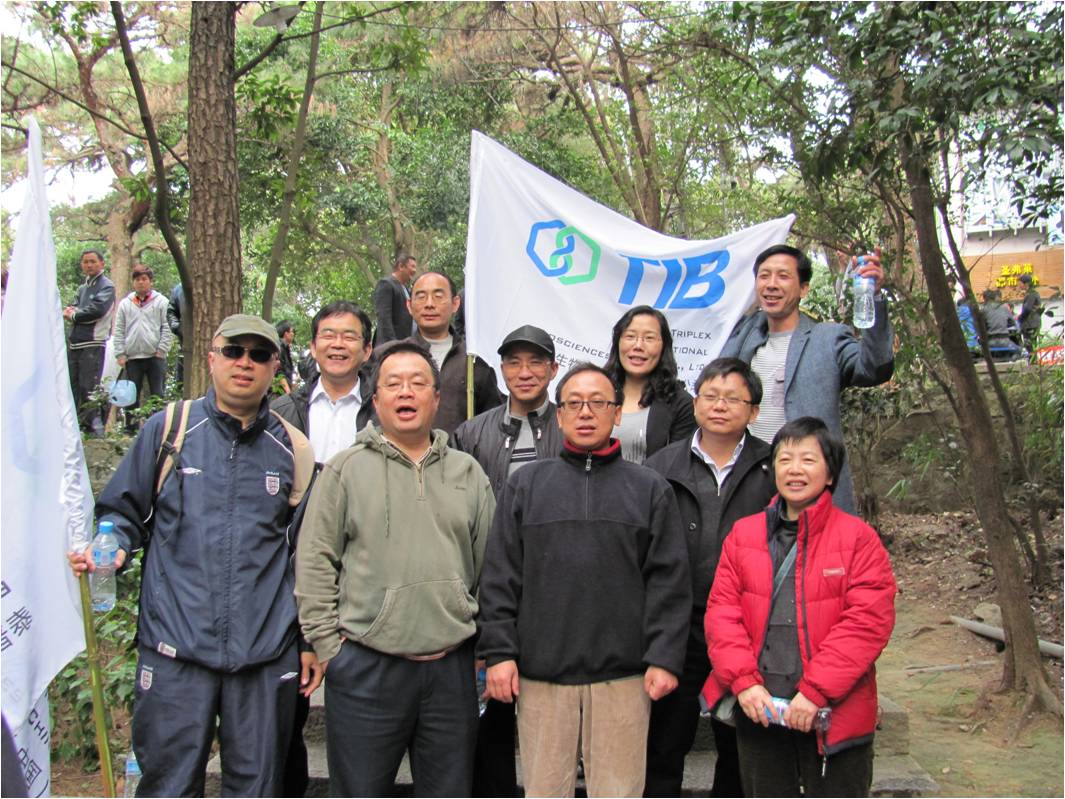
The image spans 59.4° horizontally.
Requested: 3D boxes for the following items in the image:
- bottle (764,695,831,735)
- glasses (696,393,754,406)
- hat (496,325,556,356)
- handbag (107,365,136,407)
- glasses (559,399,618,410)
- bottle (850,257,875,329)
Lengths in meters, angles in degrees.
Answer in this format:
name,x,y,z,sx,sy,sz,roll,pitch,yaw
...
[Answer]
name,x,y,z,sx,sy,sz,roll,pitch,yaw
bottle,1.286,1.525,4.503,0.215,0.218,0.077,9,8,19
glasses,1.049,0.005,5.056,0.281,0.080,0.070,-7,-6,6
hat,-0.033,-0.331,5.457,0.308,0.202,0.195,-5,-6,-8
handbag,-4.570,-0.138,10.433,0.146,0.539,0.533,-1,1,-34
glasses,0.288,0.027,4.824,0.275,0.071,0.071,-6,-6,-2
bottle,1.856,-0.598,5.259,0.103,0.415,0.244,-6,-6,6
